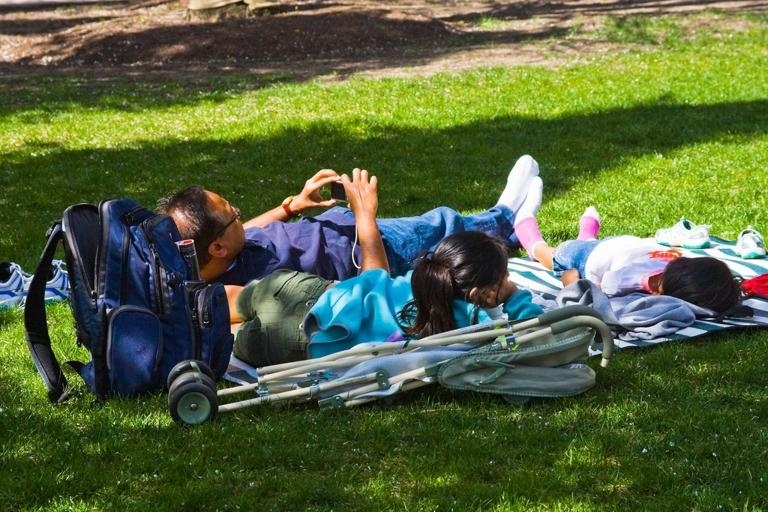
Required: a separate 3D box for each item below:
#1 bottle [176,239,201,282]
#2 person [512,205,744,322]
[{"bbox_3d":[-2.005,0.025,11.059,0.167,0.525,0.189,-12,11,-9],"label":"bottle"},{"bbox_3d":[2.905,0.123,12.241,1.114,0.539,1.792,-21,31,-38],"label":"person"}]
